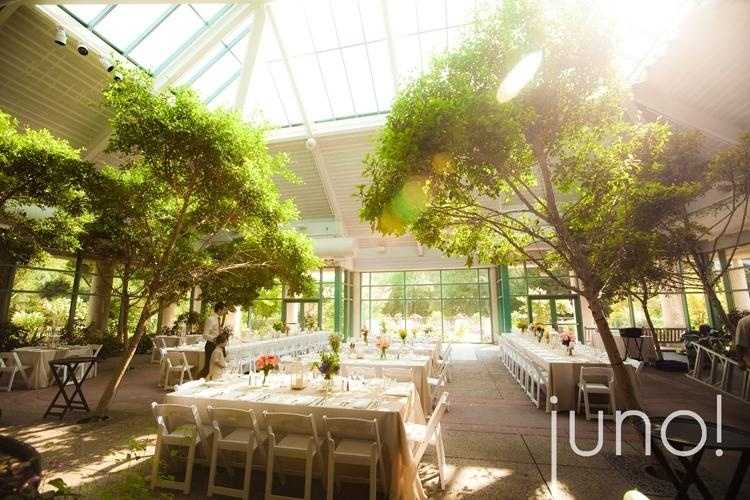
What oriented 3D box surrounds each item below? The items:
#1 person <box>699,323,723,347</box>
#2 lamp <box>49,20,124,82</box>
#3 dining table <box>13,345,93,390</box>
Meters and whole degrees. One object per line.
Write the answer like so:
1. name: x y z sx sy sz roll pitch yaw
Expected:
1. person: 10.111 2.563 12.649 0.228 0.718 0.737 35 -25 -8
2. lamp: -8.027 -5.430 11.735 0.954 0.903 1.654 -10 -15 35
3. dining table: -8.498 3.061 11.023 0.747 0.628 1.305 -2 -9 4
